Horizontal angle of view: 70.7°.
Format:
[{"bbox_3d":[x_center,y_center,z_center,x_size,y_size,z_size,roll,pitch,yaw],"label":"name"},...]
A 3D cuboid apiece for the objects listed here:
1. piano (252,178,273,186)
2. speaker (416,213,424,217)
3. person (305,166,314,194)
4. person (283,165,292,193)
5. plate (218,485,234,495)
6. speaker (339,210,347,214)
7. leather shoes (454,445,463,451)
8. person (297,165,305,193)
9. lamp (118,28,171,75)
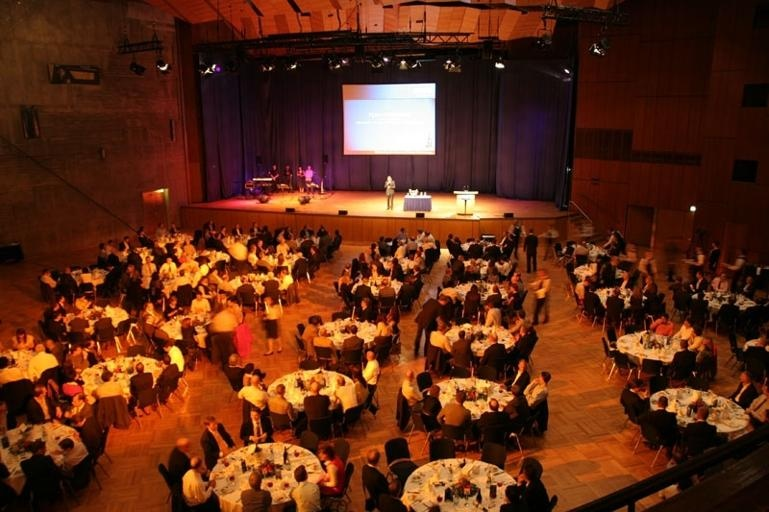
[{"bbox_3d":[-6.326,-3.823,27.989,0.946,0.395,0.928,-7,14,-23],"label":"piano"},{"bbox_3d":[1.424,-1.717,22.708,0.270,0.183,0.149,0,32,-1],"label":"speaker"},{"bbox_3d":[-4.131,-4.207,29.434,0.564,1.361,1.849,-4,13,-9],"label":"person"},{"bbox_3d":[-5.242,-4.143,29.237,0.358,1.314,2.356,-4,13,-10],"label":"person"},{"bbox_3d":[-2.688,3.962,9.154,0.234,0.048,0.171,-5,13,-12],"label":"plate"},{"bbox_3d":[-1.850,-1.883,23.490,0.190,0.141,0.283,1,10,9],"label":"speaker"},{"bbox_3d":[1.512,3.939,11.177,0.177,0.150,0.210,-1,13,4],"label":"leather shoes"},{"bbox_3d":[-4.630,-4.242,29.658,0.441,1.377,1.597,-4,13,-9],"label":"person"},{"bbox_3d":[-10.141,-8.643,22.822,1.898,2.055,4.267,-7,13,-20],"label":"lamp"}]
